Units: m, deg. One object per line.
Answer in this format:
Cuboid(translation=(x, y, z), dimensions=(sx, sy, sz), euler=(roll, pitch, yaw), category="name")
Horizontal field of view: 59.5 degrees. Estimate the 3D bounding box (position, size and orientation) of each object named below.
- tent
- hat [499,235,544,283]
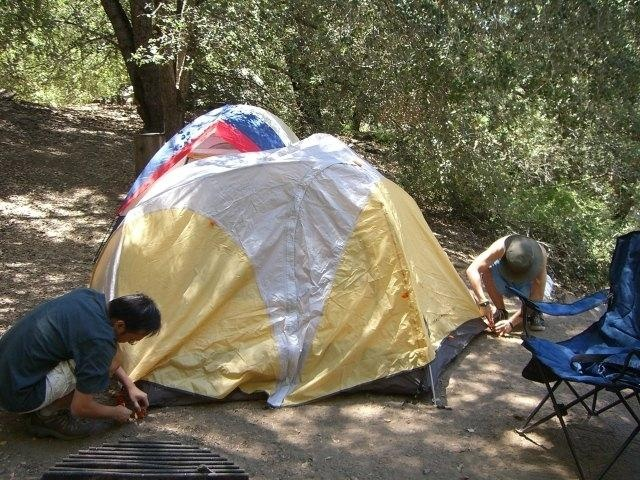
Cuboid(translation=(-0.220, 0.204, 6.369), dimensions=(3.463, 2.634, 3.908), euler=(-1, 17, -10), category="tent")
Cuboid(translation=(2.133, 0.198, 5.886), dimensions=(0.463, 0.476, 0.179), euler=(2, -8, 8), category="hat")
